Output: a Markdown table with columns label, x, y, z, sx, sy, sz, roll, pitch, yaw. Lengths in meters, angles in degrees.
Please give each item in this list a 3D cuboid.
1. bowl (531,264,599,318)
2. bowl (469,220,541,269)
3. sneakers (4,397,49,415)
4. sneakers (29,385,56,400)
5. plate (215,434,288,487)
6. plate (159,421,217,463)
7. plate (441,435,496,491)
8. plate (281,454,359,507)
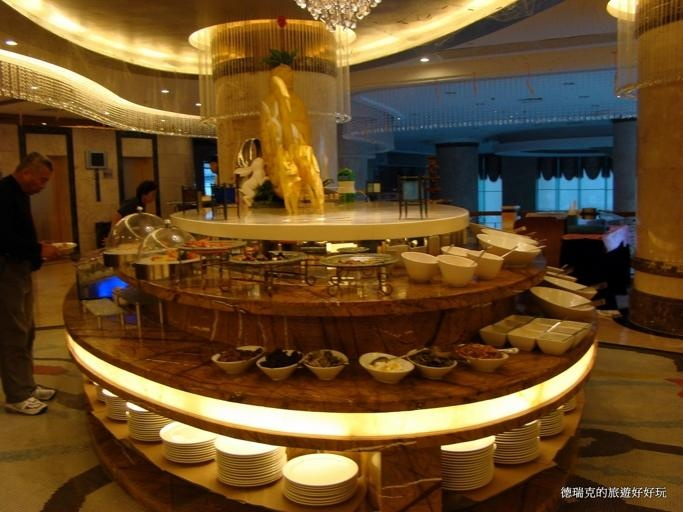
| label | x | y | z | sx | sy | sz | roll | pitch | yaw |
| --- | --- | --- | --- | --- | --- | --- | --- | --- | --- |
| bowl | 1.915 | 0.324 | 4.463 | 0.620 | 0.168 | 0.519 | 11 | 25 | 17 |
| bowl | 1.497 | -0.105 | 4.749 | 0.563 | 0.174 | 0.572 | 16 | 15 | -5 |
| sneakers | -3.079 | 1.461 | 5.080 | 0.392 | 0.108 | 0.150 | 0 | 3 | -2 |
| sneakers | -3.073 | 1.404 | 5.388 | 0.313 | 0.092 | 0.107 | 1 | 11 | 3 |
| plate | -0.631 | 1.379 | 3.461 | 0.508 | 0.139 | 0.407 | 1 | 2 | -2 |
| plate | -1.114 | 1.354 | 3.770 | 0.444 | 0.123 | 0.403 | 2 | 1 | -35 |
| plate | 0.850 | 1.395 | 3.545 | 0.487 | 0.156 | 0.438 | -1 | -2 | -1 |
| plate | -0.127 | 1.436 | 3.340 | 0.416 | 0.187 | 0.406 | -11 | 16 | -36 |
